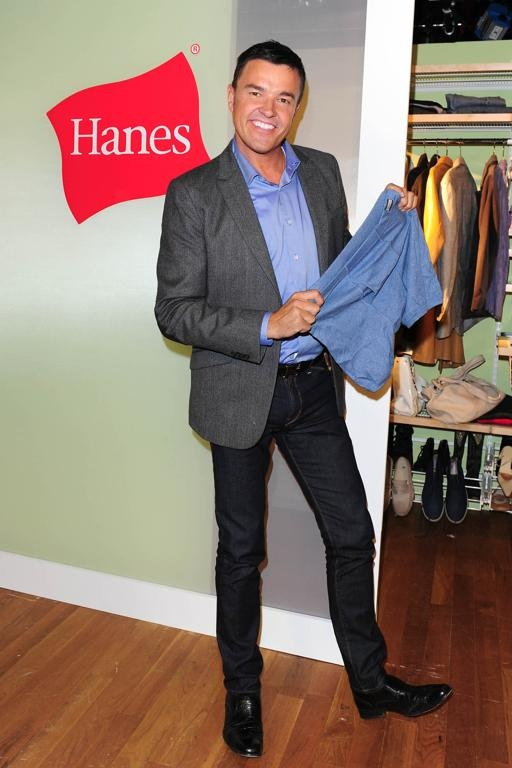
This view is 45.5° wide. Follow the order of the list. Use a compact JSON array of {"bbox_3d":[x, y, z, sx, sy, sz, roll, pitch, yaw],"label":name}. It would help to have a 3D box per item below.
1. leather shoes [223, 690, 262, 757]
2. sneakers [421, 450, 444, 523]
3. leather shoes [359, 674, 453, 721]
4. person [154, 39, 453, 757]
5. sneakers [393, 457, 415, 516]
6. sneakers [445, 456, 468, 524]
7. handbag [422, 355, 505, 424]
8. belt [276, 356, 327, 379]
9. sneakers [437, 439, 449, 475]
[{"bbox_3d":[-0.029,0.798,1.433,0.053,0.062,0.156,2,6,-2],"label":"leather shoes"},{"bbox_3d":[0.928,0.554,3.238,0.105,0.139,0.351,-1,51,22],"label":"sneakers"},{"bbox_3d":[0.371,0.792,1.528,0.232,0.112,0.079,-13,15,5],"label":"leather shoes"},{"bbox_3d":[0.070,0.137,1.417,0.572,1.425,0.397,-2,6,-42],"label":"person"},{"bbox_3d":[0.776,0.547,3.221,0.107,0.294,0.101,-6,-12,42],"label":"sneakers"},{"bbox_3d":[1.043,0.569,3.208,0.102,0.115,0.319,0,48,14],"label":"sneakers"},{"bbox_3d":[1.021,0.053,3.030,0.298,0.118,0.299,-19,35,11],"label":"handbag"},{"bbox_3d":[0.103,-0.034,1.367,0.075,0.023,0.056,-9,12,11],"label":"belt"},{"bbox_3d":[1.040,0.402,3.374,0.073,0.220,0.093,1,-20,20],"label":"sneakers"}]
